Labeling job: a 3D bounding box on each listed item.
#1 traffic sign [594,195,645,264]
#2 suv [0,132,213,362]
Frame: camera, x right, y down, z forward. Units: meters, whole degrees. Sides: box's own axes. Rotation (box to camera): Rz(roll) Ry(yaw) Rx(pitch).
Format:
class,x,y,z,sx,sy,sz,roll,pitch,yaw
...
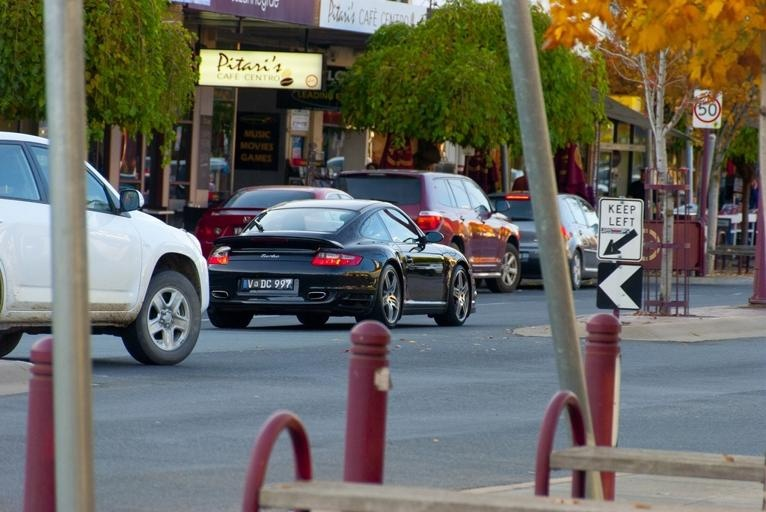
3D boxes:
class,x,y,z,sx,sy,sz,roll,pitch,yaw
traffic sign,3.038,-0.318,14.685,0.548,0.796,0.566,1,2,12
suv,-2.866,-0.044,12.193,1.645,1.677,3.254,-1,-1,35
